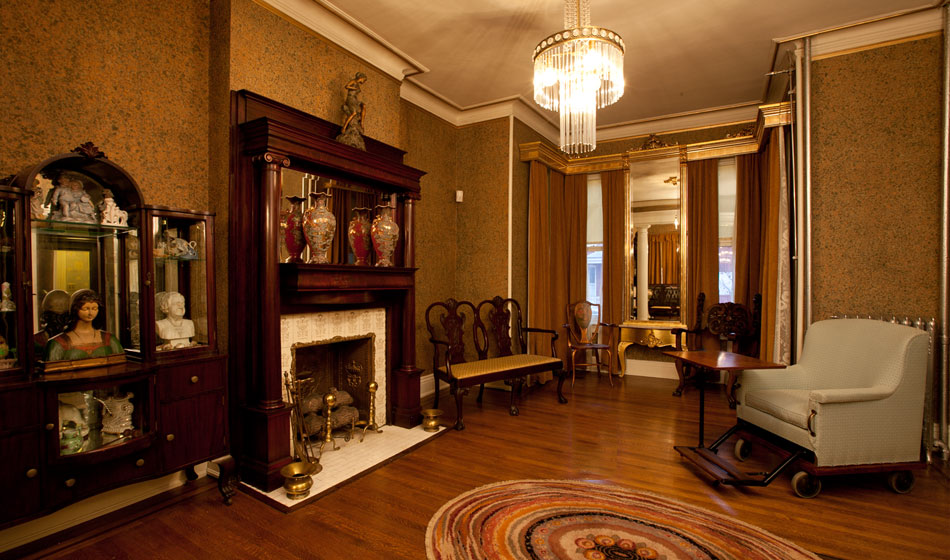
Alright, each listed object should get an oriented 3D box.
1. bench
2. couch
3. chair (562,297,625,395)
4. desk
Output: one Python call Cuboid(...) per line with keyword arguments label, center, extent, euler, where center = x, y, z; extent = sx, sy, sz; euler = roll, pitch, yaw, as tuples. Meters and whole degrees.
Cuboid(label="bench", center=(0.217, 0.893, 8.063), extent=(1.996, 1.363, 1.373), euler=(-3, 3, -34))
Cuboid(label="couch", center=(3.266, 1.198, 6.337), extent=(1.995, 1.565, 0.968), euler=(-2, 3, -5))
Cuboid(label="chair", center=(1.714, 0.845, 9.121), extent=(0.721, 1.115, 1.800), euler=(-1, 2, 16))
Cuboid(label="desk", center=(2.581, 0.838, 6.411), extent=(0.951, 0.433, 0.918), euler=(1, 1, -15))
